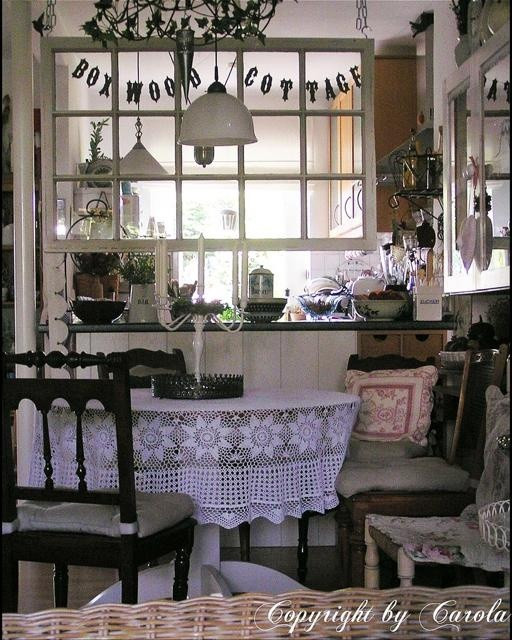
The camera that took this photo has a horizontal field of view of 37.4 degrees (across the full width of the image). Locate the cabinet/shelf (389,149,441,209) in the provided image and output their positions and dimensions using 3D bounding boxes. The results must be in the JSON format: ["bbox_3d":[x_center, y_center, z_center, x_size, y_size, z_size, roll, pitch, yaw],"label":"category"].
[{"bbox_3d":[0.935,-0.805,4.265,0.260,0.331,0.399,-1,4,-4],"label":"cabinet/shelf"}]

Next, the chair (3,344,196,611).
[{"bbox_3d":[-0.351,0.391,1.774,0.414,0.697,0.665,-2,3,-6],"label":"chair"}]

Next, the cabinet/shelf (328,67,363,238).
[{"bbox_3d":[0.368,-0.675,3.061,0.161,0.684,0.137,-2,3,-9],"label":"cabinet/shelf"}]

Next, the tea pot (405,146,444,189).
[{"bbox_3d":[0.961,-0.833,4.221,0.189,0.259,0.223,2,10,11],"label":"tea pot"}]

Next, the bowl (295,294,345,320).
[{"bbox_3d":[0.297,-0.055,3.292,0.215,0.111,0.221,-2,4,0],"label":"bowl"}]

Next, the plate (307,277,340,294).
[{"bbox_3d":[0.338,-0.166,3.634,0.101,0.053,0.111,-1,-1,-4],"label":"plate"}]

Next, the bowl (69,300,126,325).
[{"bbox_3d":[-0.618,-0.035,2.929,0.197,0.099,0.134,-2,3,2],"label":"bowl"}]
